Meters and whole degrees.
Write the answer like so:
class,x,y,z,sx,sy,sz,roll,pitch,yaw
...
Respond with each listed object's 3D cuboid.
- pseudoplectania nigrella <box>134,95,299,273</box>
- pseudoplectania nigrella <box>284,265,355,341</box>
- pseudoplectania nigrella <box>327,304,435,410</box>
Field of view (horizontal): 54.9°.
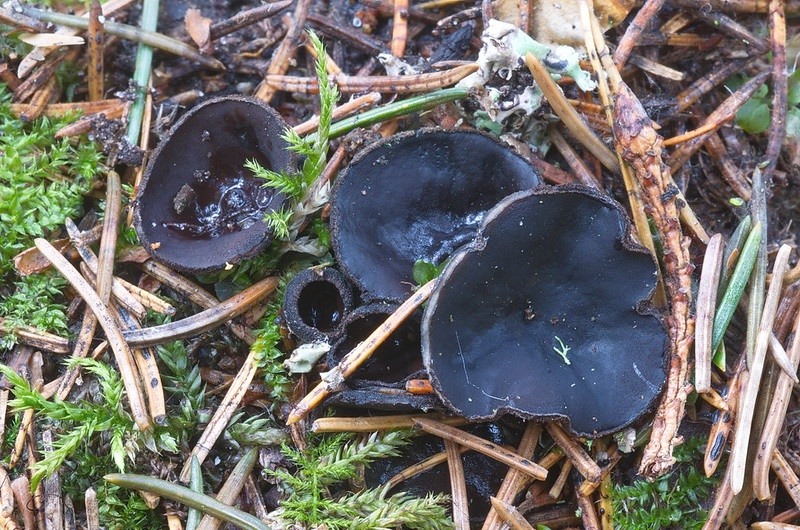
class,x,y,z,sx,sy,sz,roll,pitch,yaw
pseudoplectania nigrella,-0.742,-0.325,3.102,0.567,0.398,0.652,18,57,11
pseudoplectania nigrella,-0.326,0.141,3.084,0.284,0.215,0.303,-2,92,-12
pseudoplectania nigrella,-0.069,0.379,3.043,0.428,0.286,0.380,1,55,-1
